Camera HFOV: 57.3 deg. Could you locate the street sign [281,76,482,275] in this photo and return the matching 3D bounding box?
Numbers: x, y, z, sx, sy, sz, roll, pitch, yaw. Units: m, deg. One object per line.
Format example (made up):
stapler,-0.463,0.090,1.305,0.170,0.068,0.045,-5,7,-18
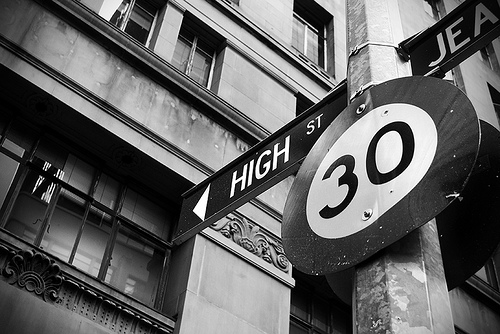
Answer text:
street sign,0.787,0.007,3.147,1.533,0.254,1.678,-23,-48,-1
